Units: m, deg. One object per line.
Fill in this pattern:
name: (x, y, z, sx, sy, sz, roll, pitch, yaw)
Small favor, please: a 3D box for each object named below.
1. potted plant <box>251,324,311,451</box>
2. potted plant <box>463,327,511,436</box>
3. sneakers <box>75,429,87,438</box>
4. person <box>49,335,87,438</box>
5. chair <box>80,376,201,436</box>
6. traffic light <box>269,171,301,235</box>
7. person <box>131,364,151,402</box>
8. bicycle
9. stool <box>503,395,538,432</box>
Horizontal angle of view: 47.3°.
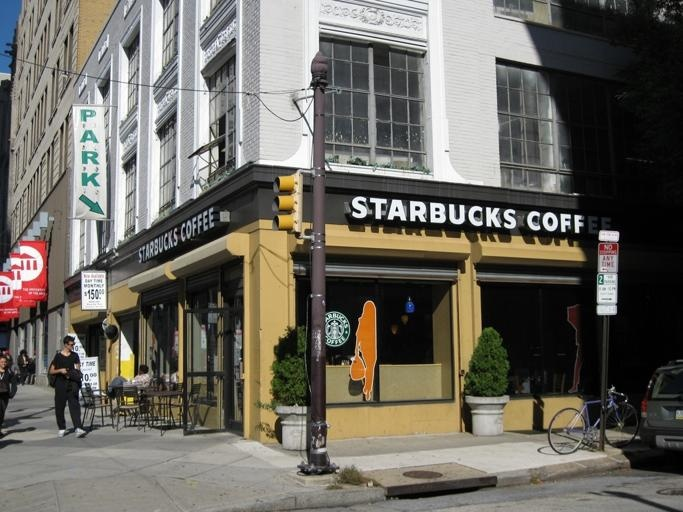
potted plant: (-1.193, 3.051, 18.005, 0.980, 2.803, 0.517, -3, -11, 11)
potted plant: (3.659, 3.189, 19.718, 1.107, 2.652, 1.026, 1, -11, -7)
sneakers: (-6.596, 4.484, 19.747, 0.145, 0.155, 0.325, 2, -7, -27)
person: (-7.056, 3.353, 20.125, 0.913, 2.626, 1.333, 3, -12, -21)
chair: (-5.598, 4.277, 22.084, 1.848, 0.857, 1.660, -1, -2, 18)
traffic light: (-1.052, -1.052, 15.729, 0.461, 1.315, 0.451, 1, -1, -7)
person: (-6.008, 4.141, 23.385, 0.465, 1.667, 0.657, 4, -8, -25)
bicycle: (5.748, 3.758, 17.732, 2.196, 1.403, 1.165, -2, 3, -10)
stool: (4.913, 4.053, 20.690, 0.518, 1.047, 0.998, 14, -13, -19)
